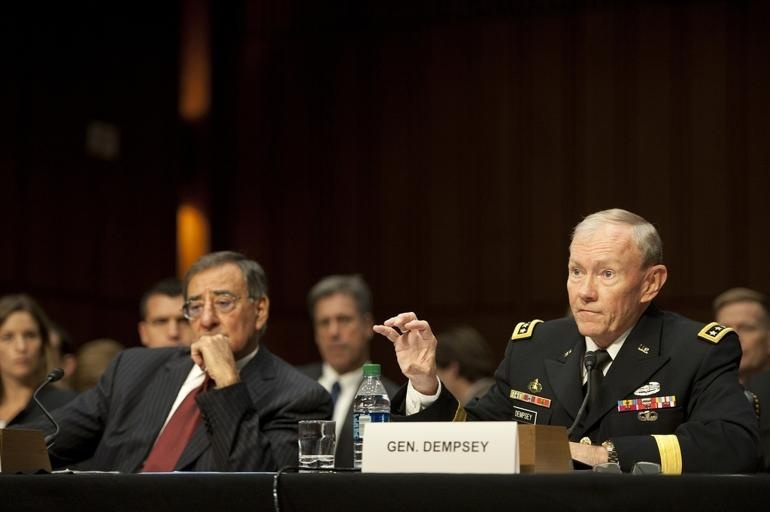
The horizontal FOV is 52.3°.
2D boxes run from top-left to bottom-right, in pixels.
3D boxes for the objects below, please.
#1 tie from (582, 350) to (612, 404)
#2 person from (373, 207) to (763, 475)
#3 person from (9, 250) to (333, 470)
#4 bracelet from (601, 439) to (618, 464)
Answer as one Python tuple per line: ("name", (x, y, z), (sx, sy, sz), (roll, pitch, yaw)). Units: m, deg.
("tie", (0.905, 0.494, 3.357), (0.077, 0.241, 0.170), (12, -21, -32))
("person", (1.073, 0.398, 4.191), (0.908, 1.616, 0.869), (21, -25, -34))
("person", (-1.207, 0.579, 4.523), (1.066, 0.806, 2.154), (-6, 18, 8))
("bracelet", (0.858, 0.744, 2.989), (0.048, 0.069, 0.025), (-27, -22, 29))
